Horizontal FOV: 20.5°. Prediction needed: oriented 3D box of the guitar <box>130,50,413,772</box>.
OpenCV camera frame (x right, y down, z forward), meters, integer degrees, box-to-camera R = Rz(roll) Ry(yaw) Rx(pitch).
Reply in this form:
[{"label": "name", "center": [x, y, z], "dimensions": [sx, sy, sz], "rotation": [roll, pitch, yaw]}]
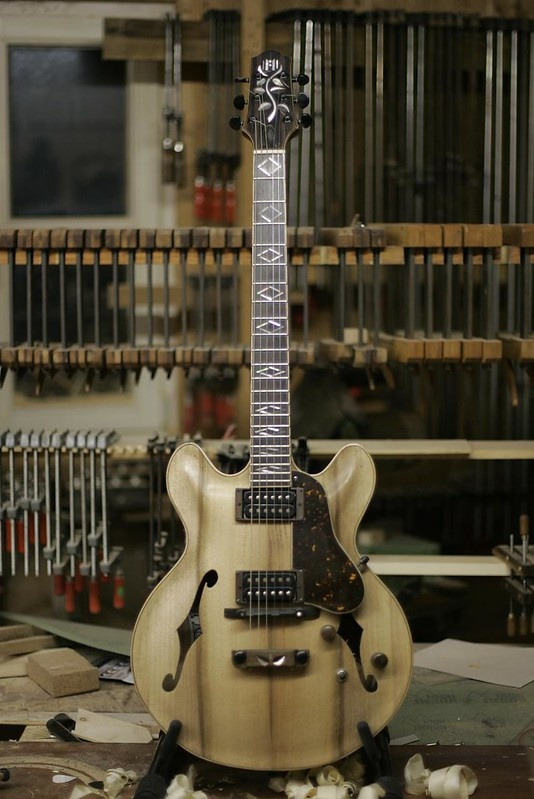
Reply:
[{"label": "guitar", "center": [-0.002, 0.005, 4.273], "dimensions": [0.788, 2.030, 0.482], "rotation": [-2, 5, 5]}]
